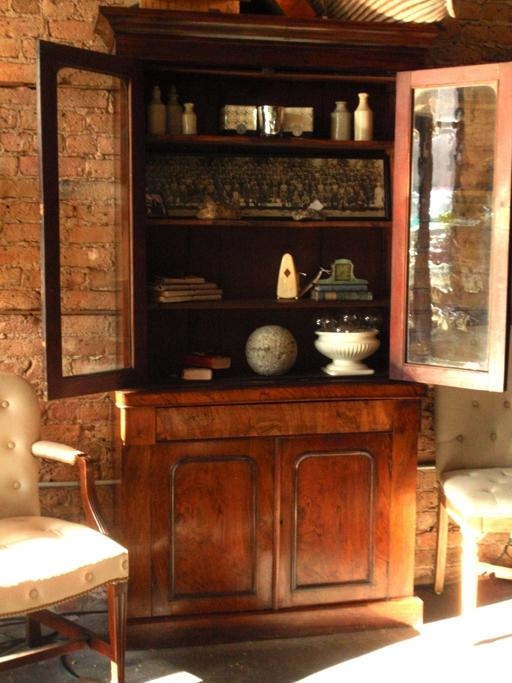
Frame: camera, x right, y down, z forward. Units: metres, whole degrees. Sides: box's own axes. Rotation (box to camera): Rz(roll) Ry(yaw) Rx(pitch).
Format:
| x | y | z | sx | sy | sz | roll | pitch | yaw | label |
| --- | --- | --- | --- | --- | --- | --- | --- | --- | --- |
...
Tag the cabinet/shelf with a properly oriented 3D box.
| x | y | z | sx | sy | sz | roll | pitch | yaw | label |
| --- | --- | --- | --- | --- | --- | --- | --- | --- | --- |
| -0.058 | -0.011 | 2.623 | 1.420 | 2.257 | 0.673 | -1 | 1 | -13 | cabinet/shelf |
